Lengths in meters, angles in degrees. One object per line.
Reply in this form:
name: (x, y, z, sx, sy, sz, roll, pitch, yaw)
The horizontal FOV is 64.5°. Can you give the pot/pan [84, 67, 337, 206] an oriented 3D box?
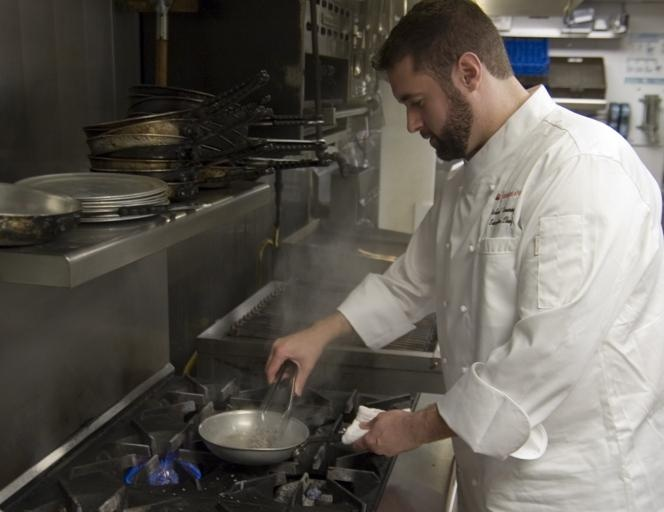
pot/pan: (-0.263, -0.242, 1.151, 0.470, 0.199, 0.410, -1, 4, 13)
